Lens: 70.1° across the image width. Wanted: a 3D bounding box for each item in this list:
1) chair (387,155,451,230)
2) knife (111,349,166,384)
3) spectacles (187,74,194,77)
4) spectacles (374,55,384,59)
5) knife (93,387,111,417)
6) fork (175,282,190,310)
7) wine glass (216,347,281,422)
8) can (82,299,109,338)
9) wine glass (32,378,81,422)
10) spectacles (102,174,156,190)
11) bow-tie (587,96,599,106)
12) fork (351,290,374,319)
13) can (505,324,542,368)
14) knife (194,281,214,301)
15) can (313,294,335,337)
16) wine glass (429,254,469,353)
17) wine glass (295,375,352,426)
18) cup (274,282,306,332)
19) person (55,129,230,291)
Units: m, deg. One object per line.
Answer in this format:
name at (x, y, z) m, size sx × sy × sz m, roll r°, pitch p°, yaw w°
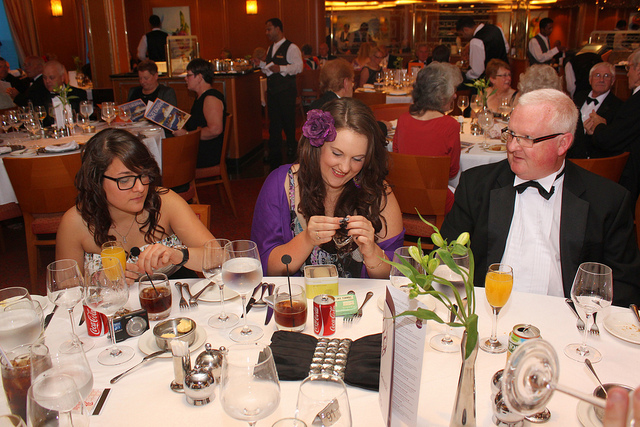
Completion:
chair at (0.685, -0.168, 3.144) m, size 0.320 × 0.557 × 0.409 m, roll 4°, pitch 50°, yaw 11°
knife at (-0.656, 0.559, 1.657) m, size 0.129 × 0.015 × 0.018 m, roll -39°, pitch 7°, yaw -34°
spectacles at (-1.557, -1.658, 5.478) m, size 0.101 × 0.029 × 0.016 m, roll 14°, pitch 23°, yaw 40°
spectacles at (1.130, -3.007, 8.750) m, size 0.045 × 0.070 × 0.202 m, roll 14°, pitch 24°, yaw 42°
knife at (-0.734, 0.640, 1.542) m, size 0.041 × 0.108 × 0.004 m, roll 4°, pitch -26°, yaw 10°
fork at (-0.604, 0.359, 1.996) m, size 0.034 × 0.017 × 0.246 m, roll -7°, pitch 21°, yaw -9°
wine glass at (-0.208, 0.509, 1.365) m, size 0.173 × 0.193 × 0.113 m, roll 3°, pitch 17°, yaw 14°
can at (-0.898, 0.412, 1.822) m, size 0.095 × 0.157 × 0.043 m, roll 1°, pitch 17°, yaw 8°
wine glass at (-0.788, 0.553, 1.357) m, size 0.147 × 0.077 × 0.102 m, roll 0°, pitch 18°, yaw 4°
spectacles at (-0.999, -0.169, 2.361) m, size 0.216 × 0.074 × 0.067 m, roll -7°, pitch 18°, yaw -17°
bow-tie at (2.876, -1.192, 4.808) m, size 0.090 × 0.023 × 0.087 m, roll 3°, pitch 30°, yaw -31°
fork at (0.180, 0.383, 1.892) m, size 0.037 × 0.036 × 0.244 m, roll 13°, pitch 30°, yaw 15°
can at (0.714, 0.436, 1.633) m, size 0.103 × 0.187 × 0.098 m, roll 0°, pitch 17°, yaw 0°
knife at (-0.518, 0.342, 2.038) m, size 0.015 × 0.020 × 0.093 m, roll 23°, pitch 63°, yaw 29°
can at (0.018, 0.411, 1.814) m, size 0.084 × 0.146 × 0.085 m, roll -5°, pitch 3°, yaw 0°
wine glass at (0.507, 0.332, 1.770) m, size 0.150 × 0.369 × 0.157 m, roll 2°, pitch 5°, yaw -9°
wine glass at (0.015, 0.522, 1.364) m, size 0.135 × 0.144 × 0.142 m, roll -2°, pitch -4°, yaw 29°
cup at (-0.082, 0.356, 1.852) m, size 0.173 × 0.196 × 0.181 m, roll -1°, pitch 10°, yaw 0°
person at (-1.087, -0.056, 2.701) m, size 0.965 × 1.021 × 0.763 m, roll 25°, pitch 32°, yaw 35°
